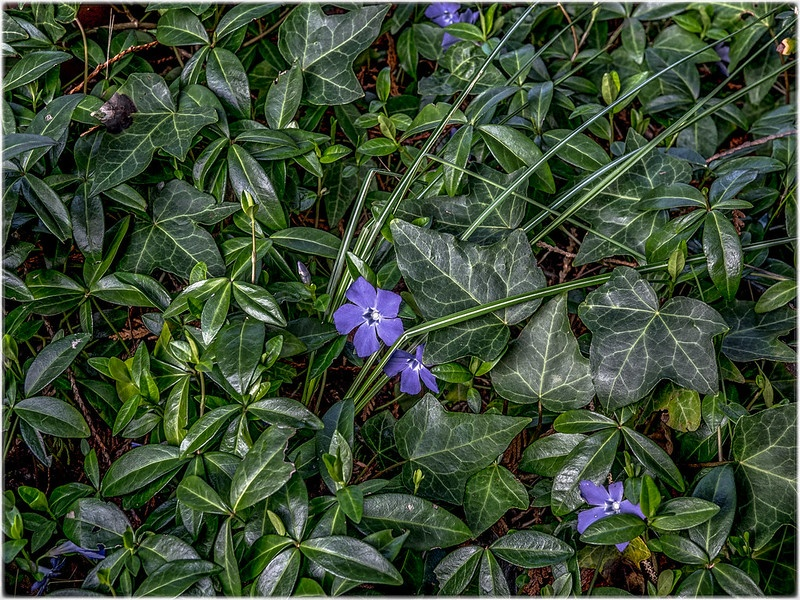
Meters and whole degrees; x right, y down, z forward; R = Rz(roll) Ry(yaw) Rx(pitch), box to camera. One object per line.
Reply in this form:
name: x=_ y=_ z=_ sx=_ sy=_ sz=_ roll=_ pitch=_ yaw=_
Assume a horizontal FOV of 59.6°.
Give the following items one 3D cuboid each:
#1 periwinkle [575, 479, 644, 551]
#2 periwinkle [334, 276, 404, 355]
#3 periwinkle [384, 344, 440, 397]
periwinkle: x=0.531 y=0.519 z=1.786 sx=0.156 sy=0.084 sz=0.112 roll=-5 pitch=69 yaw=-7
periwinkle: x=-0.075 y=0.053 z=1.812 sx=0.183 sy=0.113 sz=0.156 roll=36 pitch=70 yaw=9
periwinkle: x=0.044 y=0.176 z=1.865 sx=0.156 sy=0.192 sz=0.109 roll=13 pitch=102 yaw=2
